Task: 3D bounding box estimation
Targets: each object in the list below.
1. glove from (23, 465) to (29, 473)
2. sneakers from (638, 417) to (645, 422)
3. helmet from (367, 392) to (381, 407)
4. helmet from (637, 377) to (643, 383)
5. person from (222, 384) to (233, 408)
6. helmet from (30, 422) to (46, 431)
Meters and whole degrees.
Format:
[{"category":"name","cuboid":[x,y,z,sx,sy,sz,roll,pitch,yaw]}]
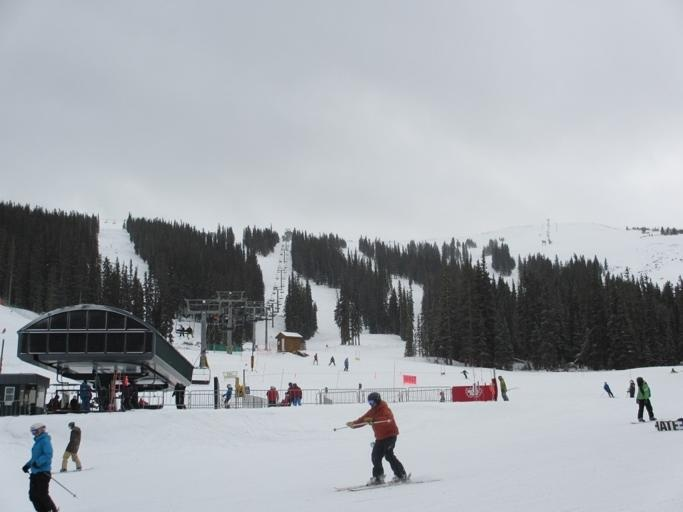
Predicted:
[{"category":"glove","cuboid":[-12.365,8.401,37.304,0.289,0.281,0.247,2,-10,-37]},{"category":"sneakers","cuboid":[14.397,7.868,45.462,0.358,0.208,0.131,2,-6,-9]},{"category":"helmet","cuboid":[1.381,5.926,39.253,0.431,0.624,0.612,2,-24,-1]},{"category":"helmet","cuboid":[14.192,5.894,45.037,0.229,0.260,0.252,0,-12,-8]},{"category":"person","cuboid":[-6.995,8.711,58.604,0.563,2.257,0.692,7,-16,-13]},{"category":"helmet","cuboid":[-12.070,6.836,37.805,0.488,0.303,0.384,12,-22,-14]}]
